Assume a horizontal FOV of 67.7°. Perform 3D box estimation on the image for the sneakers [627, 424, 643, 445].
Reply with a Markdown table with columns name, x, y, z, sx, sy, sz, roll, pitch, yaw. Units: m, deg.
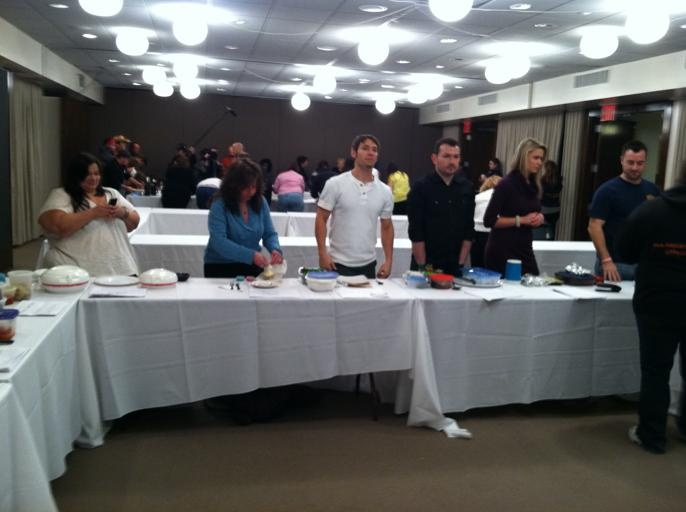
| name | x | y | z | sx | sy | sz | roll | pitch | yaw |
| --- | --- | --- | --- | --- | --- | --- | --- | --- | --- |
| sneakers | 1.755 | 1.073 | 3.085 | 0.041 | 0.053 | 0.120 | -5 | -6 | 4 |

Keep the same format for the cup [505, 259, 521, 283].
| name | x | y | z | sx | sy | sz | roll | pitch | yaw |
| --- | --- | --- | --- | --- | --- | --- | --- | --- | --- |
| cup | 1.170 | 0.099 | 3.588 | 0.125 | 0.189 | 0.128 | 1 | -3 | 0 |

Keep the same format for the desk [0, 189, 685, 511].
| name | x | y | z | sx | sy | sz | roll | pitch | yaw |
| --- | --- | --- | --- | --- | --- | --- | --- | --- | --- |
| desk | -0.015 | 0.603 | 3.130 | 3.313 | 0.947 | 0.768 | -5 | 10 | -17 |

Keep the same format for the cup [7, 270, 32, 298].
| name | x | y | z | sx | sy | sz | roll | pitch | yaw |
| --- | --- | --- | --- | --- | --- | --- | --- | --- | --- |
| cup | -1.760 | 0.148 | 2.827 | 0.127 | 0.148 | 0.138 | 3 | 3 | 0 |

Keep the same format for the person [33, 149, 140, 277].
| name | x | y | z | sx | sy | sz | roll | pitch | yaw |
| --- | --- | --- | --- | --- | --- | --- | --- | --- | --- |
| person | -1.659 | -0.220 | 3.360 | 0.573 | 0.856 | 0.446 | -5 | 16 | -42 |

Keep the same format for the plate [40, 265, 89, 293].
| name | x | y | z | sx | sy | sz | roll | pitch | yaw |
| --- | --- | --- | --- | --- | --- | --- | --- | --- | --- |
| plate | -1.587 | 0.129 | 2.911 | 0.170 | 0.095 | 0.178 | 3 | 6 | 11 |
